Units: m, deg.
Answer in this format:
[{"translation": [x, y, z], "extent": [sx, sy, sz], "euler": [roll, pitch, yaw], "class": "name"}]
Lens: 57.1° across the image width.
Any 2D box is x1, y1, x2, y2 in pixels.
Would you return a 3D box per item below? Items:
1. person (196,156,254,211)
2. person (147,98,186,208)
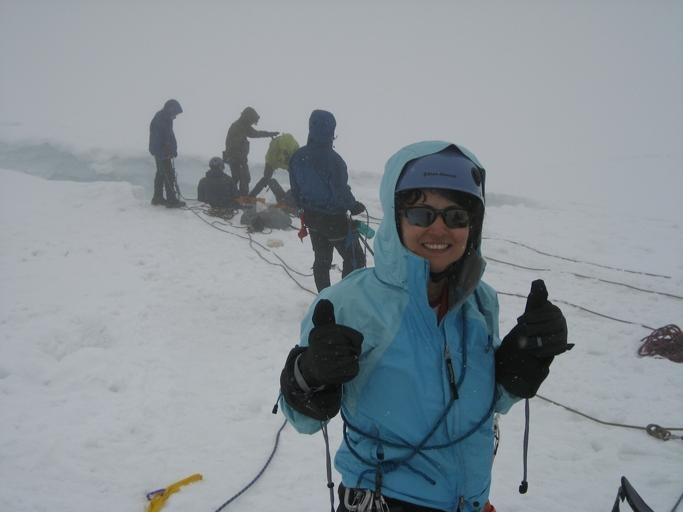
[{"translation": [-2.495, -1.351, 12.707], "extent": [0.836, 1.187, 0.765], "euler": [-6, -13, 1], "class": "person"}, {"translation": [-3.327, -1.899, 11.914], "extent": [0.603, 2.041, 0.686], "euler": [2, 10, -13], "class": "person"}]
